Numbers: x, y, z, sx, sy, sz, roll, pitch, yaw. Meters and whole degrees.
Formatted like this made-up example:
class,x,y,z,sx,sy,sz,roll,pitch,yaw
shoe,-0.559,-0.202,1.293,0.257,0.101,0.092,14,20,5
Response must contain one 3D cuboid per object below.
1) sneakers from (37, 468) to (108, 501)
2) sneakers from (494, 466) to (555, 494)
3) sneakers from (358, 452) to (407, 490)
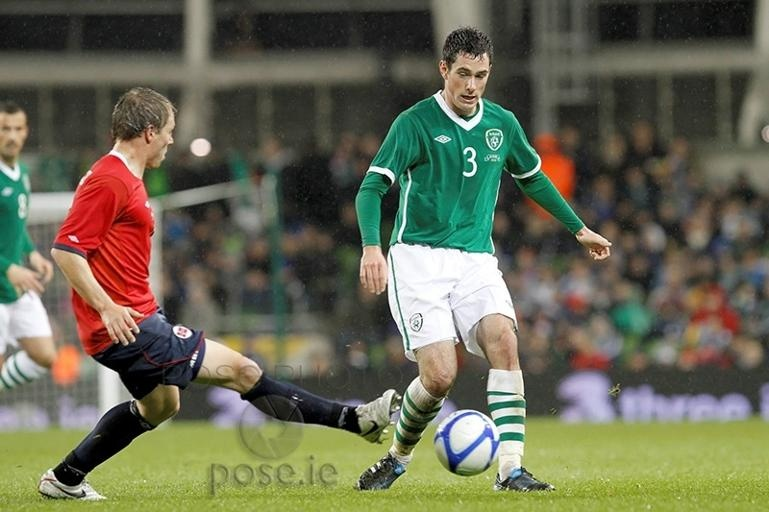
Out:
class,x,y,z,sx,sy,sz,roll,pitch,yaw
sneakers,-2.499,1.817,8.837,0.634,0.313,0.224,6,-4,-9
sneakers,1.090,1.780,8.757,0.488,0.218,0.192,-2,-5,19
sneakers,-0.014,1.784,9.085,0.472,0.188,0.208,-39,-23,-4
